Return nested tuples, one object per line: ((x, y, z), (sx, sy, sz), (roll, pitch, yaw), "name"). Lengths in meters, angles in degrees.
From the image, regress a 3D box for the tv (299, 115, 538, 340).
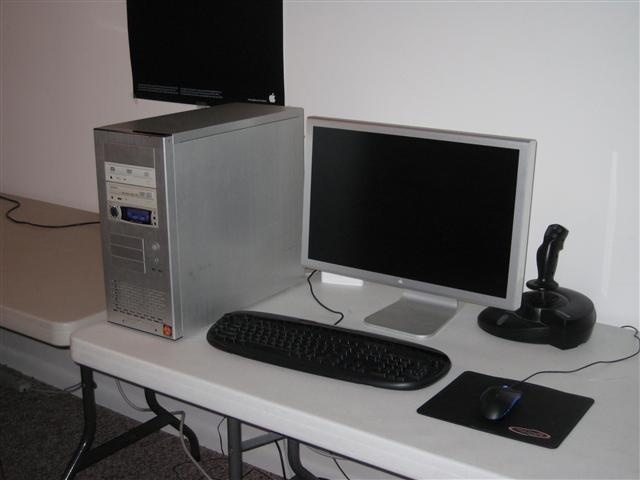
((0.245, -0.041, 1.538), (0.630, 0.548, 0.219), (10, 24, 30), "tv")
